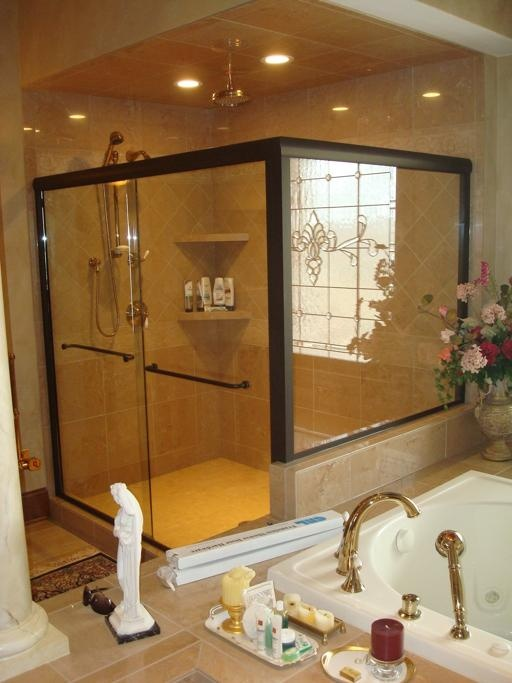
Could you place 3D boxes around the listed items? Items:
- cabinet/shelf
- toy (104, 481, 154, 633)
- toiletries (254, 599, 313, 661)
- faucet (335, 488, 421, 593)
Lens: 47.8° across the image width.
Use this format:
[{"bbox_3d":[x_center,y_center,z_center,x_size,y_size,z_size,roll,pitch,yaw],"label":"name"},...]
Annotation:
[{"bbox_3d":[-0.162,-0.263,2.221,0.114,0.278,0.338,-8,11,-38],"label":"cabinet/shelf"},{"bbox_3d":[-0.286,0.469,1.274,0.097,0.332,0.197,-4,1,-16],"label":"toy"},{"bbox_3d":[0.060,0.549,1.166,0.089,0.081,0.126,-8,9,-43],"label":"toiletries"},{"bbox_3d":[0.252,0.468,1.392,0.122,0.216,0.306,-4,1,-22],"label":"faucet"}]
